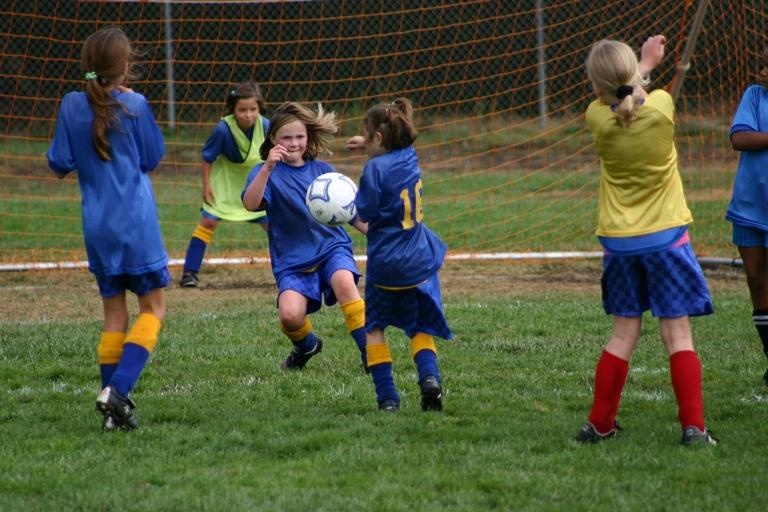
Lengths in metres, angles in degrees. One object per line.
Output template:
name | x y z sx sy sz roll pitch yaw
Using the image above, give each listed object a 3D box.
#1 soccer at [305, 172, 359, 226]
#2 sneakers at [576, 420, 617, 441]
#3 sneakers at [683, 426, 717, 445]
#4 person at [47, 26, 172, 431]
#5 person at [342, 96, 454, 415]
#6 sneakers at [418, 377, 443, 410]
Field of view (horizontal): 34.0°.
soccer | -0.466 -0.466 10.580 0.417 0.407 0.424 13 27 -16
sneakers | 1.671 1.413 10.060 0.318 0.131 0.127 -2 4 -8
sneakers | 2.496 1.438 9.943 0.307 0.142 0.116 2 -1 -19
person | -2.189 -0.202 10.168 0.848 3.214 0.476 -2 7 -12
person | 0.138 0.010 10.412 0.740 2.573 0.418 -1 7 0
sneakers | 0.363 1.150 10.364 0.123 0.159 0.349 -3 -25 9
